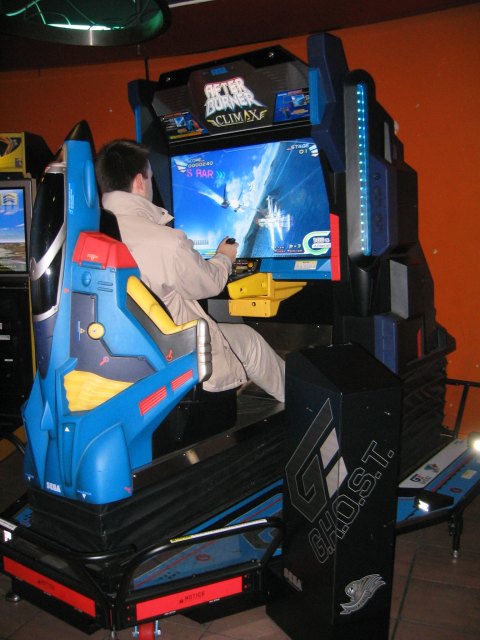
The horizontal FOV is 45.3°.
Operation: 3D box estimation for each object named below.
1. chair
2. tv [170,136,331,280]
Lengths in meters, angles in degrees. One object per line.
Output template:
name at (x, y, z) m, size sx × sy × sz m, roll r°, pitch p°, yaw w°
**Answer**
chair at (-0.363, -0.025, 1.615) m, size 0.490 × 1.015 × 0.324 m, roll -10°, pitch 15°, yaw -32°
tv at (0.079, -0.494, 2.531) m, size 0.686 × 0.509 × 0.015 m, roll 4°, pitch 11°, yaw 34°
